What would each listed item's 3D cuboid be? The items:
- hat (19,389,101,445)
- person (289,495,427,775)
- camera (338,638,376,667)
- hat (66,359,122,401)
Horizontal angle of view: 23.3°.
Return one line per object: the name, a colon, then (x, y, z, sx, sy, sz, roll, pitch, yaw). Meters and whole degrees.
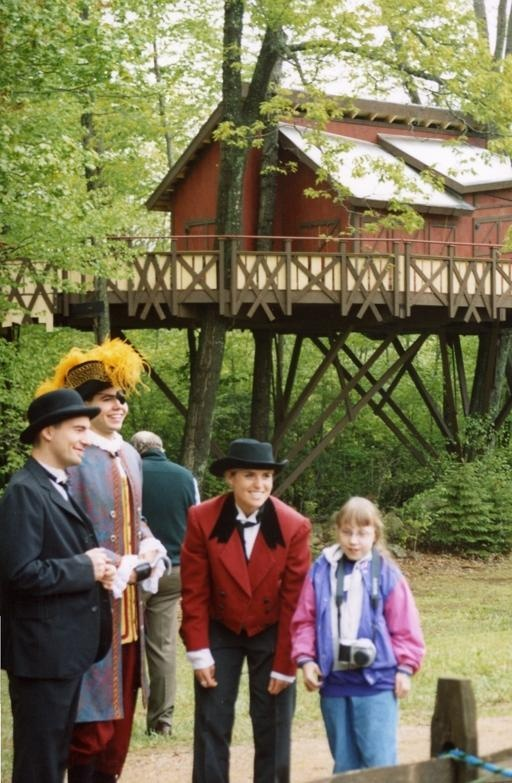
hat: (-0.975, 0.080, 6.087, 0.417, 0.146, 0.355, -13, 6, 0)
person: (0.500, 1.217, 6.146, 0.647, 1.345, 0.445, 1, 2, 2)
camera: (0.495, 1.279, 6.058, 0.170, 0.119, 0.070, 3, 5, 9)
hat: (-0.870, -0.052, 6.666, 0.238, 0.101, 0.189, -24, -30, 13)
